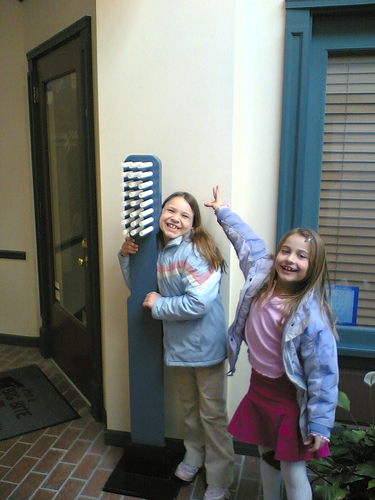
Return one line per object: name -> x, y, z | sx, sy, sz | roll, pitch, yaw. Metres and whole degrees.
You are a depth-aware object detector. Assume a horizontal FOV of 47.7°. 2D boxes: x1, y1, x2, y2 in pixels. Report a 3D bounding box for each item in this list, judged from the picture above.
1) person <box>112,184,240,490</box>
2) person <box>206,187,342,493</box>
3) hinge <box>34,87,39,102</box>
person -> -0.032, 0.395, 1.761 | 0.359, 1.228, 0.340 | 1, 11, 26
person -> 0.273, 0.324, 1.380 | 0.201, 0.864, 0.510 | -5, 8, -35
hinge -> -1.001, -1.026, 2.794 | 0.046, 0.093, 0.015 | 7, 8, 28
